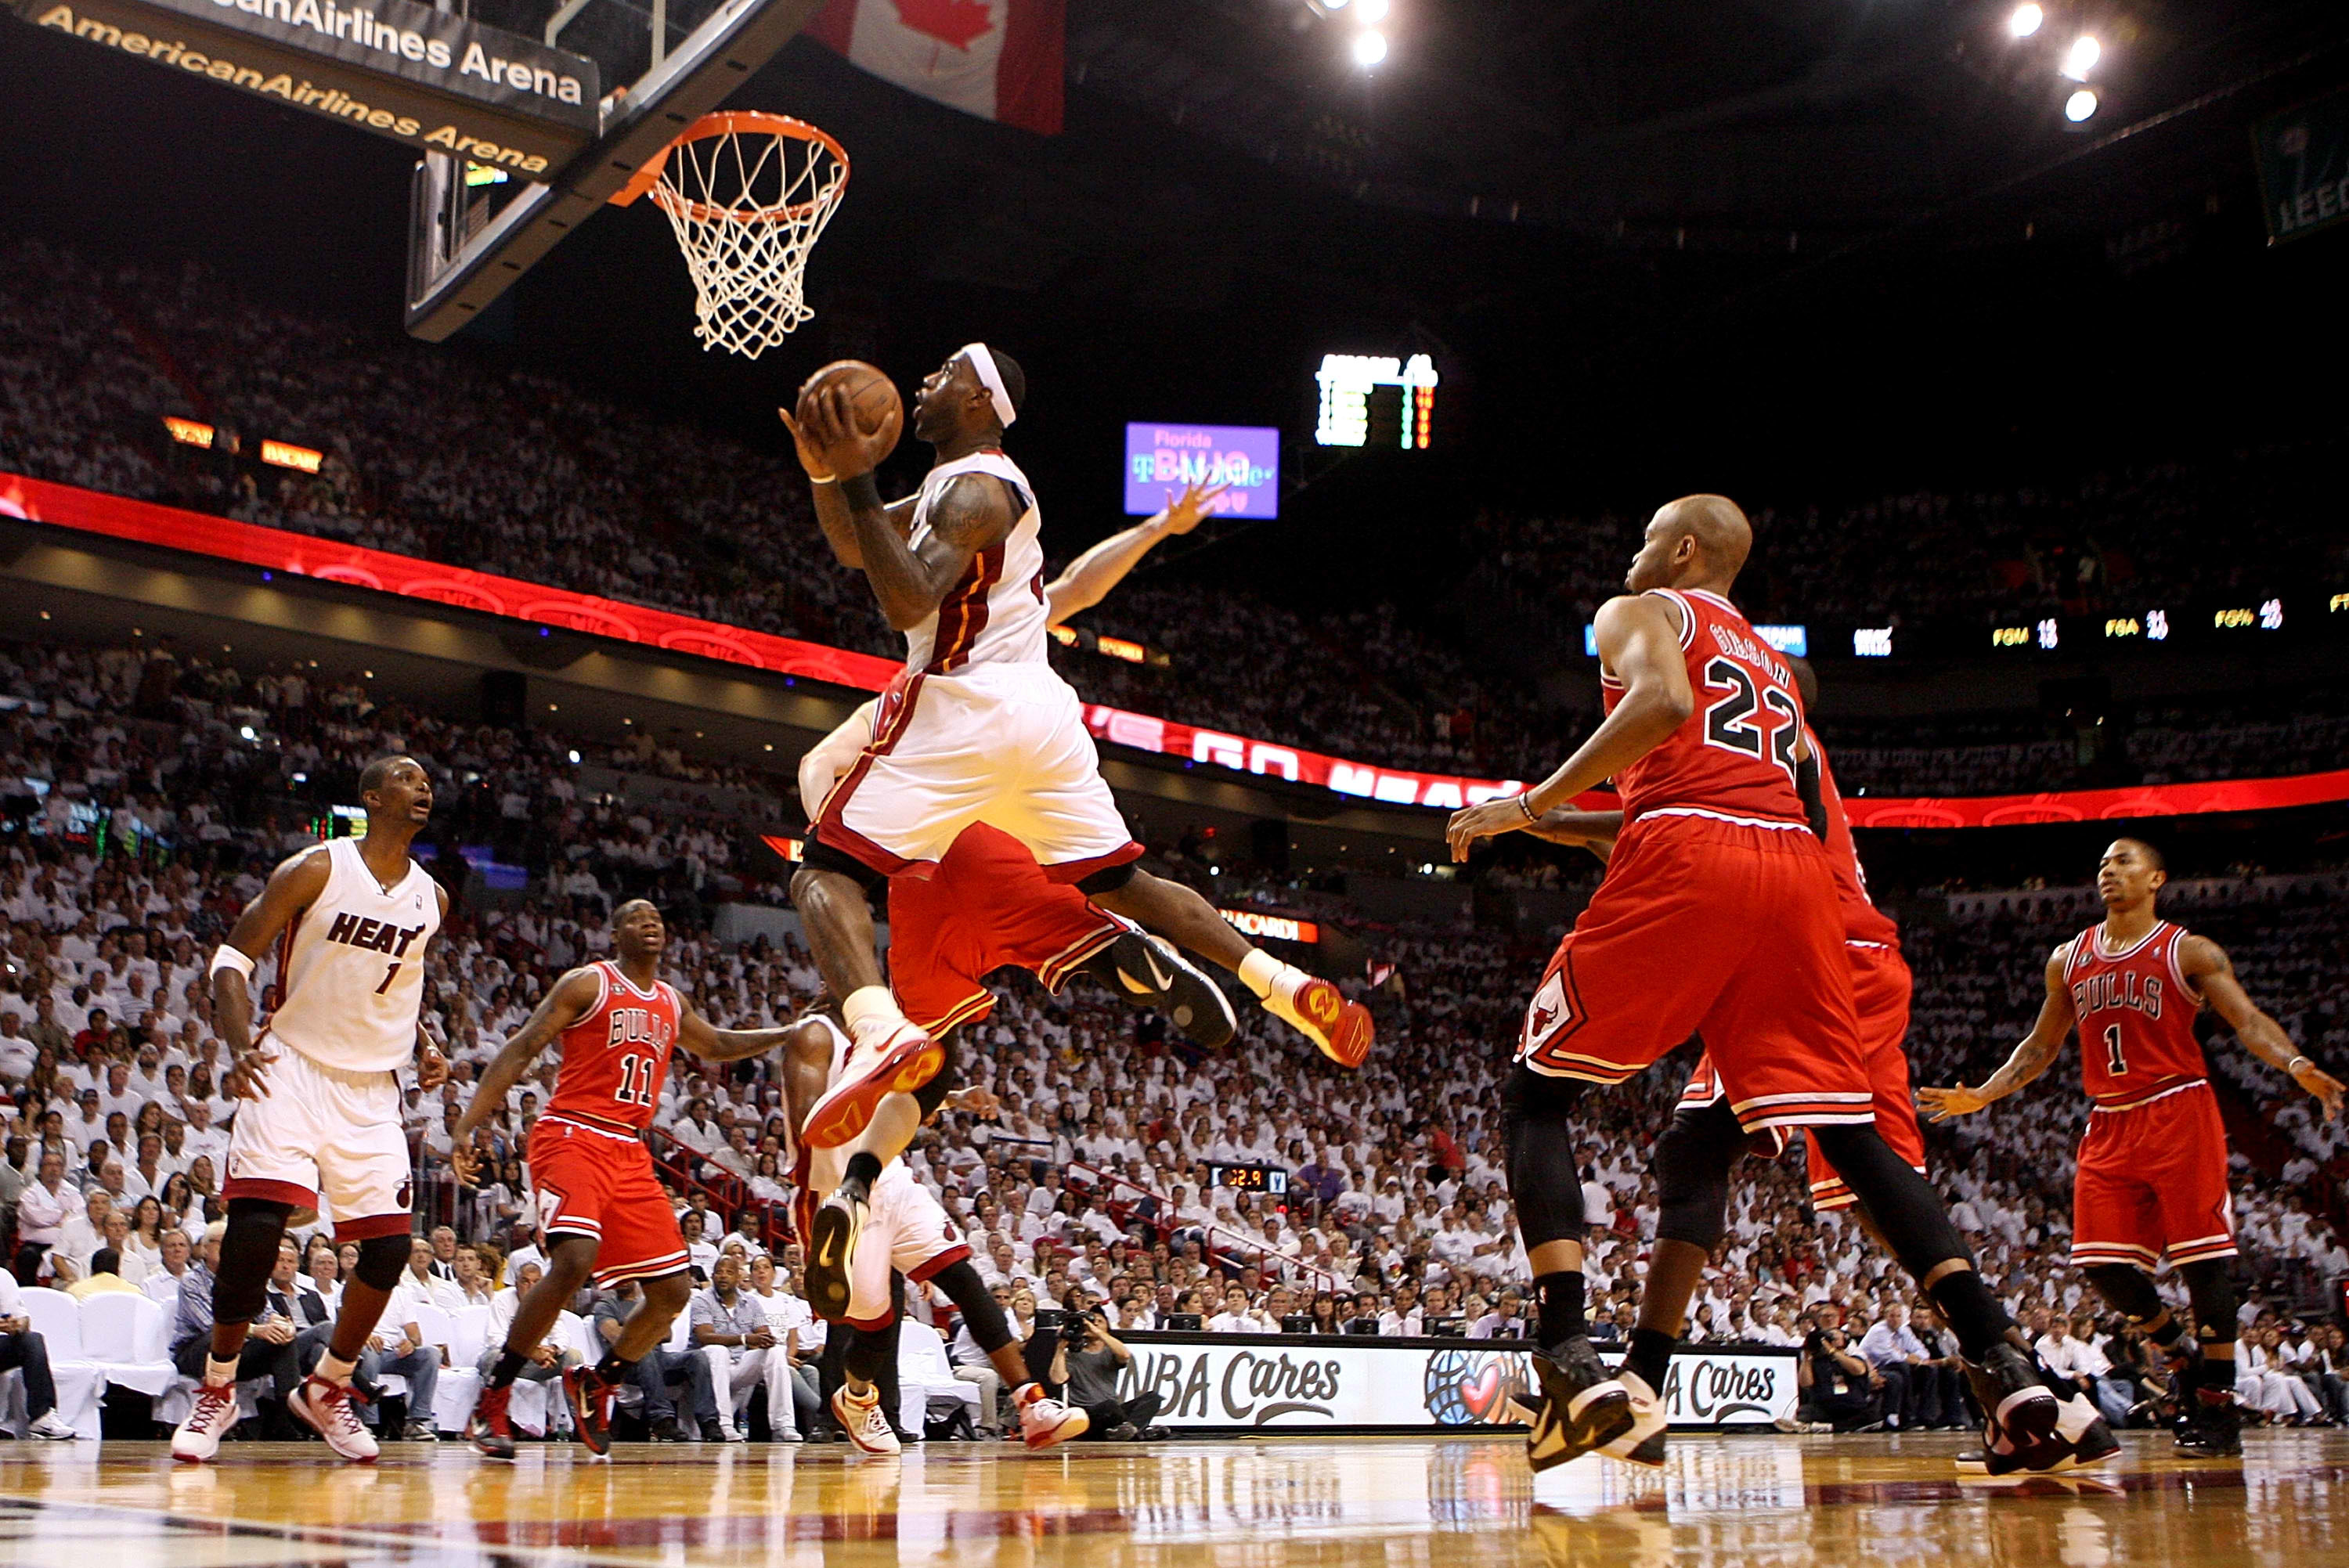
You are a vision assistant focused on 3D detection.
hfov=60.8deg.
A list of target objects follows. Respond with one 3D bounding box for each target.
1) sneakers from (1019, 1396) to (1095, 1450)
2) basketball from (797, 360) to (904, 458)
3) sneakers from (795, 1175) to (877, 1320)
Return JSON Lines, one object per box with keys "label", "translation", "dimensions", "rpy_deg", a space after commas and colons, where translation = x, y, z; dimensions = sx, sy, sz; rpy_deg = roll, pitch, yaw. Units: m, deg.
{"label": "sneakers", "translation": [-0.598, 3.133, 9.885], "dimensions": [0.279, 0.211, 0.399], "rpy_deg": [-1, -20, 2]}
{"label": "basketball", "translation": [-1.274, -1.473, 7.907], "dimensions": [0.286, 0.324, 0.280], "rpy_deg": [0, -6, -24]}
{"label": "sneakers", "translation": [-1.358, 1.822, 7.881], "dimensions": [0.184, 0.531, 0.219], "rpy_deg": [-1, 5, -1]}
